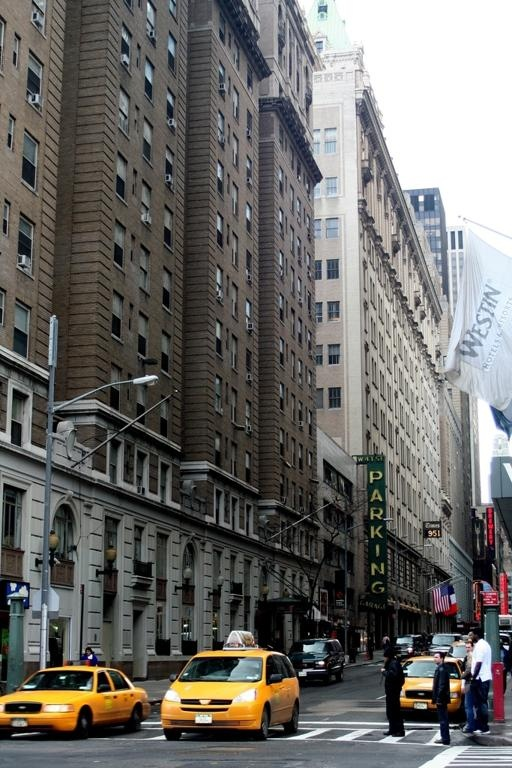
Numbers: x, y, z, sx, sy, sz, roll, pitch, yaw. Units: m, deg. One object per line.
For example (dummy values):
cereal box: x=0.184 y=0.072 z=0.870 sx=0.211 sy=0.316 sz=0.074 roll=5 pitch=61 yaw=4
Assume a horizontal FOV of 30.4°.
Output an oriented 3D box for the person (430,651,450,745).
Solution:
person: x=2.868 y=4.883 z=14.683 sx=0.250 sy=1.401 sz=1.142 roll=-3 pitch=-17 yaw=10

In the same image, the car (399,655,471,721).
car: x=3.906 y=6.764 z=21.042 sx=1.251 sy=1.498 sz=3.806 roll=-2 pitch=-24 yaw=9

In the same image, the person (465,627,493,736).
person: x=3.669 y=4.876 z=15.642 sx=0.455 sy=1.731 sz=1.680 roll=-4 pitch=-18 yaw=12

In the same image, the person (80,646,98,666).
person: x=-4.342 y=7.082 z=24.523 sx=0.361 sy=0.587 sz=1.779 roll=2 pitch=-21 yaw=-11

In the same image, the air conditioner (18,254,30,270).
air conditioner: x=-7.438 y=-3.812 z=30.376 sx=0.256 sy=0.541 sz=0.591 roll=-1 pitch=-6 yaw=3

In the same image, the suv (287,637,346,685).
suv: x=2.629 y=11.698 z=40.048 sx=1.139 sy=1.495 sz=3.006 roll=-4 pitch=-23 yaw=11
